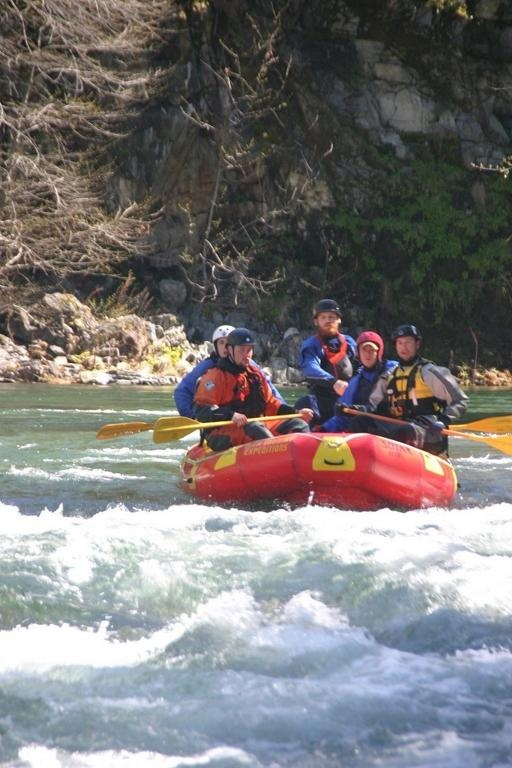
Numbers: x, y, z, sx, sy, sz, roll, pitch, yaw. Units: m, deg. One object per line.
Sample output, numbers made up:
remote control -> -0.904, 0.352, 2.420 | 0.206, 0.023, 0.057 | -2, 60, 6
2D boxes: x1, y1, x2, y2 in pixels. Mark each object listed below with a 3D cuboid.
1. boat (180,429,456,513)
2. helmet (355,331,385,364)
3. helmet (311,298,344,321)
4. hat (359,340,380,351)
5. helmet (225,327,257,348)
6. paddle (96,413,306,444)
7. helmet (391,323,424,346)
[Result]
boat -> 0.426, 0.569, 6.326 | 1.163, 0.263, 0.725 | 2, -19, 3
helmet -> 0.900, -0.320, 7.983 | 0.211, 0.244, 0.298 | -4, -8, 15
helmet -> 0.601, -0.658, 8.403 | 0.205, 0.177, 0.519 | 0, -1, 3
hat -> 0.903, -0.310, 7.854 | 0.133, 0.062, 0.086 | 0, -1, 3
helmet -> -0.116, -0.344, 7.214 | 0.169, 0.128, 0.128 | -1, -4, 35
paddle -> -0.452, 0.372, 8.039 | 1.937, 0.275, 0.276 | -4, -7, 5
helmet -> 1.124, -0.392, 7.342 | 0.137, 0.140, 0.182 | 2, -25, 0
